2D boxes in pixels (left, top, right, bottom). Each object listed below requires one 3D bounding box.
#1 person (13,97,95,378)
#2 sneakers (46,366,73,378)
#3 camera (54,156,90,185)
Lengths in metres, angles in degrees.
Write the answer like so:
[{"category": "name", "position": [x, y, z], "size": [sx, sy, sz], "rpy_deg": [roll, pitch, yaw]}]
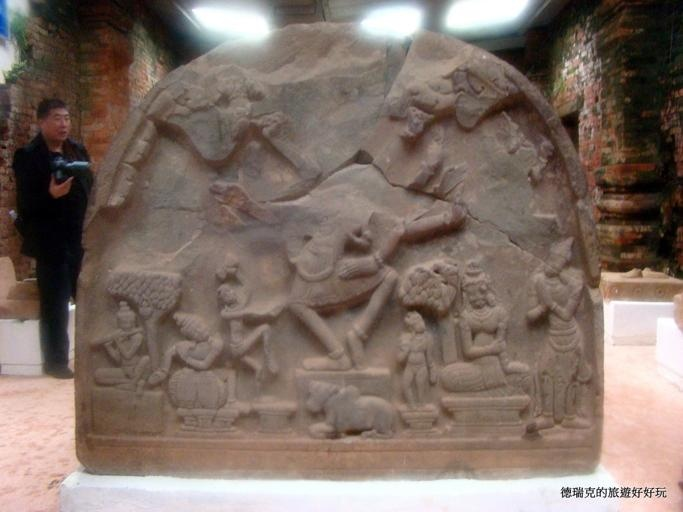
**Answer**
[{"category": "person", "position": [-2.229, -0.094, 6.549], "size": [0.551, 2.099, 1.079], "rpy_deg": [2, -2, -21]}, {"category": "sneakers", "position": [-2.285, 0.932, 6.971], "size": [0.239, 0.110, 0.095], "rpy_deg": [1, -3, -6]}, {"category": "camera", "position": [-1.934, -0.613, 6.141], "size": [0.245, 0.160, 0.122], "rpy_deg": [-5, -9, 8]}]
